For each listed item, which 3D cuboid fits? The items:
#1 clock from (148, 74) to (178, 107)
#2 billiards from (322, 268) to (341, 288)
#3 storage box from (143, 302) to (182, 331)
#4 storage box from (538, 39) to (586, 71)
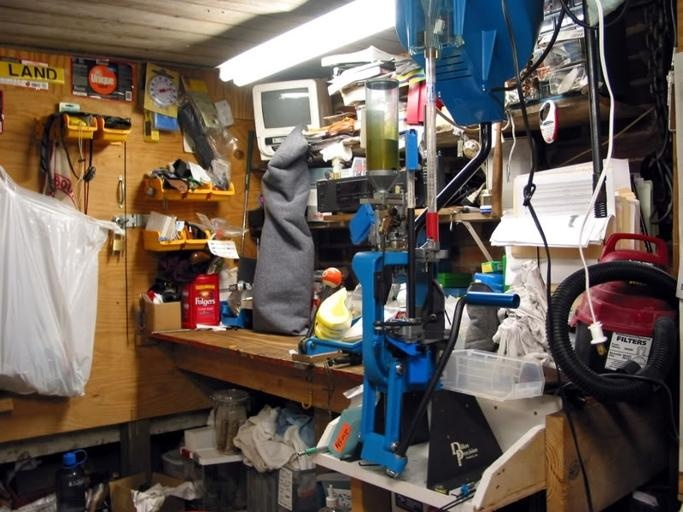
[{"bbox_3d":[-1.128,-1.058,3.540,0.188,0.213,0.037,-7,7,-42],"label":"clock"},{"bbox_3d":[-0.041,0.101,2.620,0.086,0.087,0.101,-7,47,7],"label":"billiards"},{"bbox_3d":[-1.084,0.363,3.397,0.186,0.183,0.189,-3,5,-36],"label":"storage box"},{"bbox_3d":[0.866,-0.790,2.169,0.107,0.084,0.045,-2,41,28],"label":"storage box"}]
